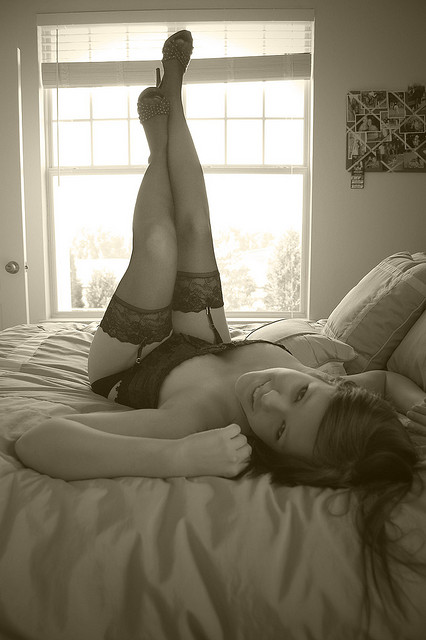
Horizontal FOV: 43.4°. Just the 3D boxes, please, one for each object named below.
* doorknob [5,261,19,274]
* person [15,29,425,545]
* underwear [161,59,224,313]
[{"bbox_3d":[-1.288,-0.336,3.471,0.074,0.081,0.093,-1,9,-2],"label":"doorknob"},{"bbox_3d":[0.028,-0.058,1.216,0.815,0.743,0.953,-4,20,-33],"label":"person"},{"bbox_3d":[-0.086,-0.431,1.662,0.130,0.782,0.280,-3,9,-14],"label":"underwear"}]
